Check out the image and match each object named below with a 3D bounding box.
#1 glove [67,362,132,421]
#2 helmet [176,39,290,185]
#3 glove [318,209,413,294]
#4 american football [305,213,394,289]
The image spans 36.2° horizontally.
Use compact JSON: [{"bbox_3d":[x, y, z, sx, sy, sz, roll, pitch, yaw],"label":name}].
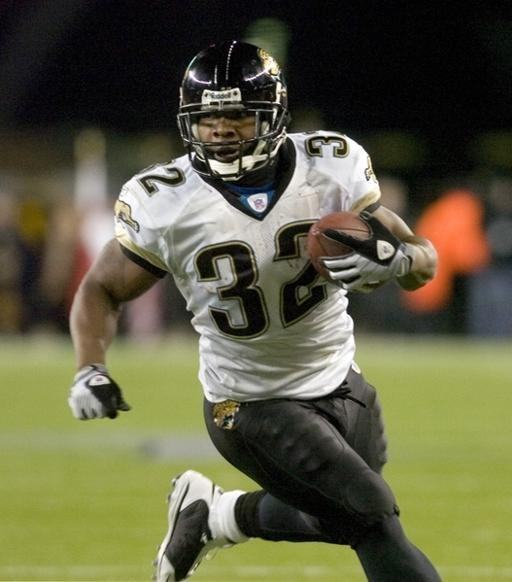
[{"bbox_3d":[-0.401,0.270,2.073,0.191,0.123,0.129,11,-2,27],"label":"glove"},{"bbox_3d":[-0.057,-0.473,2.053,0.389,0.331,0.404,-1,23,6],"label":"helmet"},{"bbox_3d":[0.261,-0.094,1.868,0.205,0.175,0.101,1,3,7],"label":"glove"},{"bbox_3d":[0.258,-0.114,1.858,0.238,0.127,0.148,4,1,11],"label":"american football"}]
